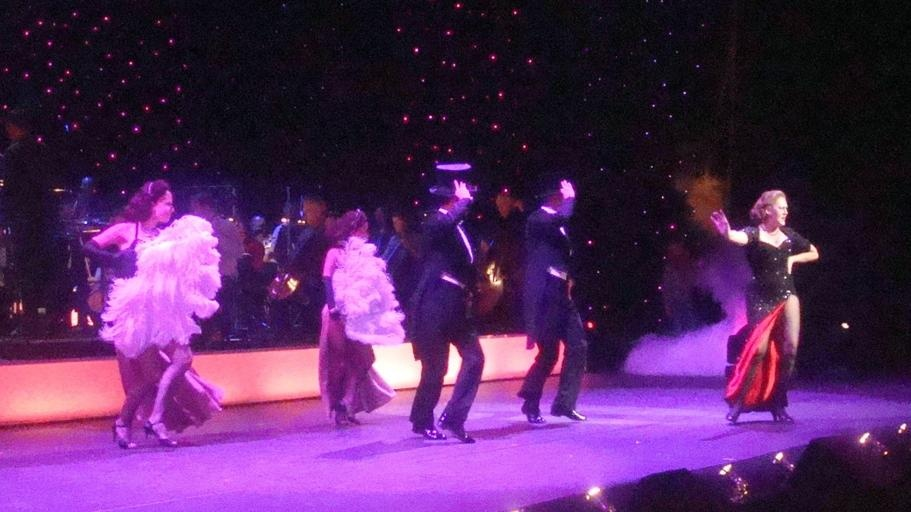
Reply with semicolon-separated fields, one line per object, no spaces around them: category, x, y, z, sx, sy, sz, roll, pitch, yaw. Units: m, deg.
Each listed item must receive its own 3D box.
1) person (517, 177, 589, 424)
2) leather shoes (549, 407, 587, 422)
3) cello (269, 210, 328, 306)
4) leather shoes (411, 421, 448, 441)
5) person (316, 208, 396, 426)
person;1.372;0.669;10.825;0.937;3.451;0.750;0;9;6
leather shoes;1.581;2.249;10.858;0.620;0.237;0.196;6;8;-12
cello;-2.523;0.033;12.366;1.034;1.974;0.727;2;1;-27
leather shoes;-0.391;2.328;10.102;0.542;0.207;0.192;1;2;10
person;-1.429;0.924;10.943;1.135;3.085;0.713;-3;9;-10
